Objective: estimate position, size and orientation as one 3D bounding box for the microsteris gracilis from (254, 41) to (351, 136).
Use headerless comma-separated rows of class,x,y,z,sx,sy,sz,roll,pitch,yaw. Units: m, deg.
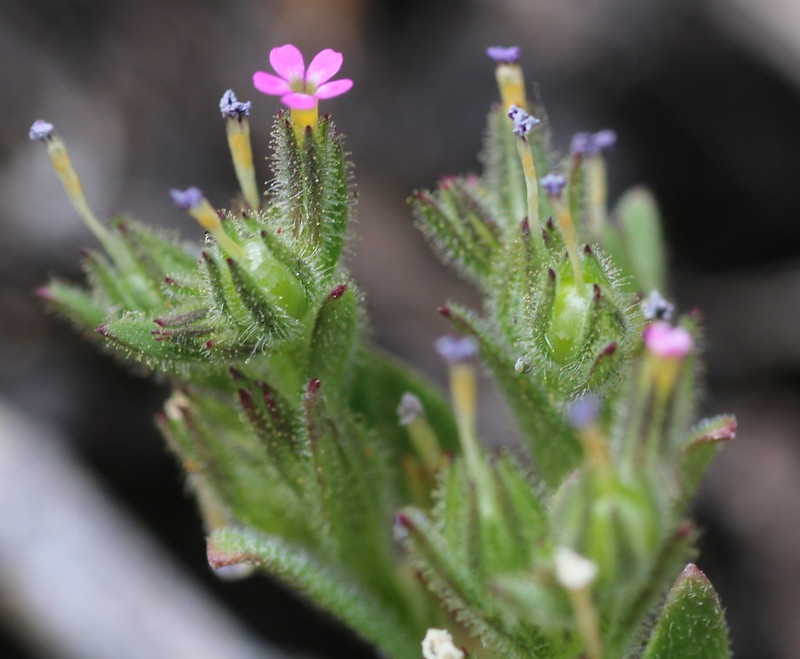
microsteris gracilis,-0.226,-0.533,2.411,0.210,0.215,0.199,1,73,-16
